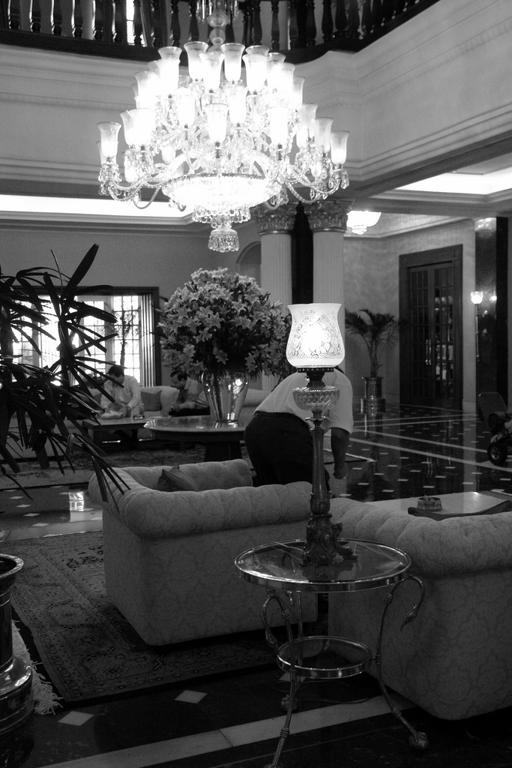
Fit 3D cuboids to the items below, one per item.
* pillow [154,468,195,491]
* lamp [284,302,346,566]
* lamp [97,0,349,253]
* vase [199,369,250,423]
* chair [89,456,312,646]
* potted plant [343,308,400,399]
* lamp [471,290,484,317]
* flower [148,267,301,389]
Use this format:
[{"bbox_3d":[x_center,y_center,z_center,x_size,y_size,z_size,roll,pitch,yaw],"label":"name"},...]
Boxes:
[{"bbox_3d":[-0.462,0.536,3.357,0.147,0.147,0.048,7,-44,-33],"label":"pillow"},{"bbox_3d":[0.208,0.140,2.019,0.198,0.735,0.394,-2,-1,4],"label":"lamp"},{"bbox_3d":[-0.452,-2.719,6.264,2.353,1.823,2.244,-3,-1,40],"label":"lamp"},{"bbox_3d":[-0.263,0.066,5.233,0.391,0.488,0.427,5,13,14],"label":"vase"},{"bbox_3d":[-0.378,0.656,3.128,0.842,0.753,0.916,-4,8,-24],"label":"chair"},{"bbox_3d":[3.338,-0.961,17.356,1.726,2.374,1.143,-1,-1,-44],"label":"potted plant"},{"bbox_3d":[5.156,-1.925,14.222,0.267,0.626,0.398,-2,-1,-7],"label":"lamp"},{"bbox_3d":[-0.265,-0.424,5.179,0.885,1.062,0.918,-1,-2,1],"label":"flower"}]
